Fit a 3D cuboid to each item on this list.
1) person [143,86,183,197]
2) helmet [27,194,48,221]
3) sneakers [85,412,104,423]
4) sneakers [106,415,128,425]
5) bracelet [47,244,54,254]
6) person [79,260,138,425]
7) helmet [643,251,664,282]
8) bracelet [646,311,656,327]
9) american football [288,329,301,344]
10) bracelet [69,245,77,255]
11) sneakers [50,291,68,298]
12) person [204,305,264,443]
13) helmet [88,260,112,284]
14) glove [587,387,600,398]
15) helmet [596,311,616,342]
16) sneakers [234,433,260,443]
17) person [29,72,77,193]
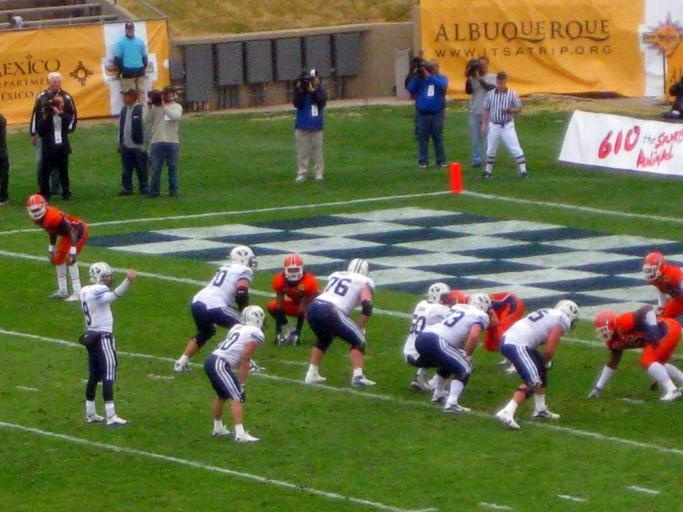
[{"bbox_3d":[-3.670,-2.342,33.178,0.688,2.199,0.885,-2,7,-7],"label":"person"},{"bbox_3d":[-5.191,-0.825,27.467,0.301,0.442,0.502,-2,7,-9],"label":"helmet"},{"bbox_3d":[-3.739,2.399,24.224,0.255,0.109,0.124,-2,39,-11],"label":"sneakers"},{"bbox_3d":[-3.388,2.436,24.143,0.239,0.100,0.155,-2,25,-3],"label":"sneakers"},{"bbox_3d":[-5.191,-0.131,28.669,0.114,0.174,0.106,8,21,8],"label":"bracelet"},{"bbox_3d":[-3.558,1.303,24.262,0.777,2.339,0.807,-2,7,-10],"label":"person"},{"bbox_3d":[4.908,0.169,25.538,0.328,0.464,0.396,1,7,11],"label":"helmet"},{"bbox_3d":[4.678,0.945,24.625,0.187,0.210,0.188,3,10,23],"label":"bracelet"},{"bbox_3d":[-0.816,1.322,26.849,0.117,0.138,0.322,4,25,-5],"label":"american football"},{"bbox_3d":[-4.615,-0.103,27.609,0.129,0.131,0.110,6,16,20],"label":"bracelet"},{"bbox_3d":[-4.925,0.655,28.149,0.327,0.142,0.112,4,22,-2],"label":"sneakers"},{"bbox_3d":[-1.555,1.722,23.959,0.763,1.909,0.877,3,7,28],"label":"person"},{"bbox_3d":[-3.737,0.278,24.536,0.415,0.367,0.319,-5,15,3],"label":"helmet"},{"bbox_3d":[3.835,2.099,24.840,0.137,0.180,0.178,32,-5,11],"label":"glove"},{"bbox_3d":[4.033,1.071,24.849,0.313,0.444,0.284,0,7,9],"label":"helmet"},{"bbox_3d":[-1.429,2.653,23.824,0.383,0.168,0.133,-1,10,-5],"label":"sneakers"},{"bbox_3d":[-5.862,-2.625,32.641,0.892,2.080,0.825,-2,7,-9],"label":"person"}]
